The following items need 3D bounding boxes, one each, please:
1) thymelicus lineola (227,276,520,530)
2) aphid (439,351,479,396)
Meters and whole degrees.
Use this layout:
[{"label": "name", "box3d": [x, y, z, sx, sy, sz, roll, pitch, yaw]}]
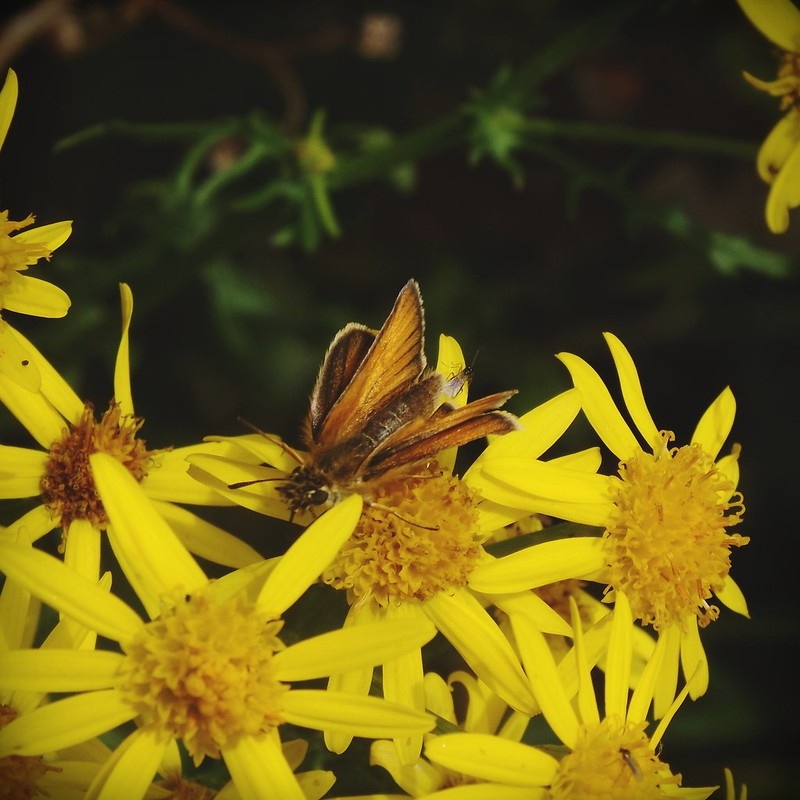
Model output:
[{"label": "thymelicus lineola", "box3d": [-0.007, 0.022, 0.619, 0.142, 0.129, 0.072, -30, -57, 5]}, {"label": "aphid", "box3d": [0.035, -0.014, 0.632, 0.013, 0.027, 0.008, 34, -50, 4]}]
